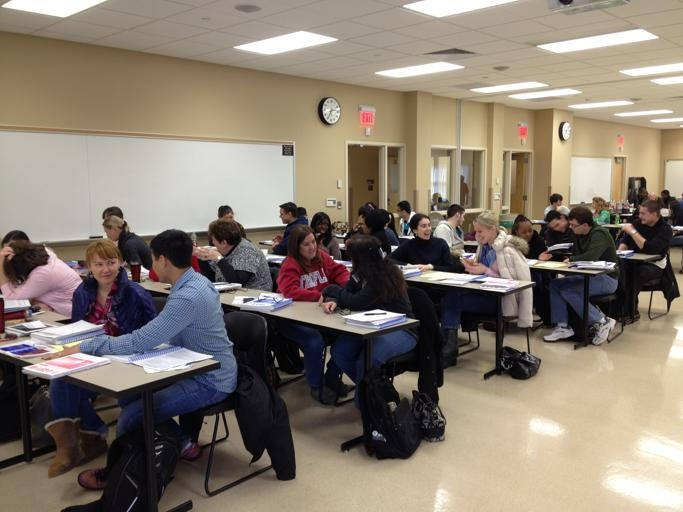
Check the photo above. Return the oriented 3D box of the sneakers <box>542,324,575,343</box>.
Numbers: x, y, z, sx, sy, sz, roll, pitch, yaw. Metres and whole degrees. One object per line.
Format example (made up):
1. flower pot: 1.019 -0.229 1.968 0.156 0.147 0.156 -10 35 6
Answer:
1. sneakers: 2.487 0.898 5.597 0.377 0.189 0.151 -16 -4 -3

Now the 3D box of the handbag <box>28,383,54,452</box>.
1. handbag: -2.224 1.137 3.614 0.242 0.326 0.162 -1 1 27

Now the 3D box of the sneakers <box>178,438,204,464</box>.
1. sneakers: -1.032 1.319 3.322 0.196 0.096 0.074 5 7 38

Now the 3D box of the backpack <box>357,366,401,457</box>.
1. backpack: 0.289 1.111 3.458 0.276 0.537 0.382 -7 -5 8

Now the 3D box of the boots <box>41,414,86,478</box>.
1. boots: -1.839 1.249 3.198 0.176 0.359 0.356 -9 2 -4

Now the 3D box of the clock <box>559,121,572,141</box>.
1. clock: 6.076 -3.215 13.270 0.110 0.516 0.498 11 8 41

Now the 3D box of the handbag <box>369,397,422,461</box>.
1. handbag: 0.353 1.196 3.352 0.212 0.385 0.377 -3 4 41

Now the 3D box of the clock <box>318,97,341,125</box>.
1. clock: -0.249 -2.522 8.896 0.142 0.530 0.486 2 8 42

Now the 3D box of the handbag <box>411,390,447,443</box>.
1. handbag: 0.642 1.176 3.588 0.233 0.348 0.332 -3 -7 -20

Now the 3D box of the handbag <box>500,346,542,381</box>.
1. handbag: 1.676 1.031 4.627 0.245 0.144 0.315 -10 15 -32
